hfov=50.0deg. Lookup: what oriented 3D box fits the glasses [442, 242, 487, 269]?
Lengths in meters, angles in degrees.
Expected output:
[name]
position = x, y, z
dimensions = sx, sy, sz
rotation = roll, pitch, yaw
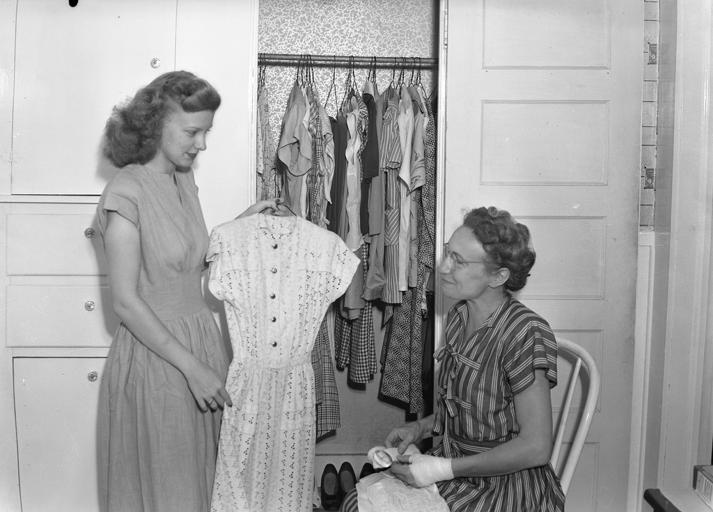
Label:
[glasses]
position = 0.358, 0.010, 2.599
dimensions = 0.099, 0.034, 0.099
rotation = 5, 10, -8
